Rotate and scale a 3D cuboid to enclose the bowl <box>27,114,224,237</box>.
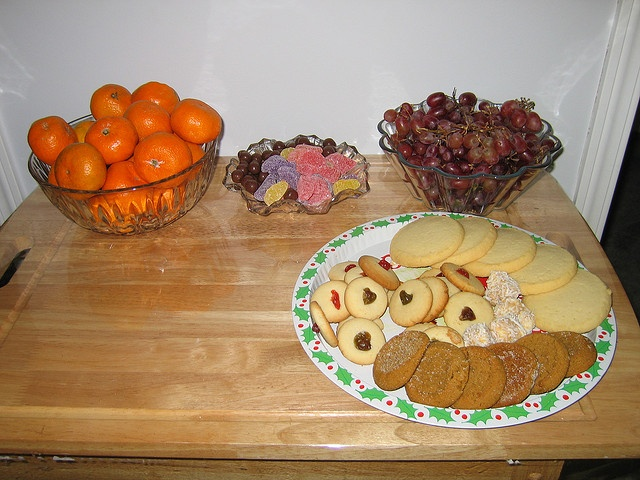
[{"bbox_3d":[-0.478,-0.159,1.310,0.353,0.156,0.329,1,51,-2],"label":"bowl"}]

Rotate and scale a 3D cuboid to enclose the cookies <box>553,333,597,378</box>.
[{"bbox_3d":[0.528,0.232,1.109,0.082,0.072,0.099,11,28,26],"label":"cookies"}]

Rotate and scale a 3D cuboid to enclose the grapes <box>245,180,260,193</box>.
[{"bbox_3d":[-0.190,-0.156,1.482,0.035,0.031,0.043,6,21,-2],"label":"grapes"}]

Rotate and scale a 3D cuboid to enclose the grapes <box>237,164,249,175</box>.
[{"bbox_3d":[-0.229,-0.213,1.547,0.035,0.018,0.032,21,56,-4],"label":"grapes"}]

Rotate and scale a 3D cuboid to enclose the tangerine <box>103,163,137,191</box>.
[{"bbox_3d":[-0.505,-0.172,1.356,0.087,0.076,0.081,-16,27,-26],"label":"tangerine"}]

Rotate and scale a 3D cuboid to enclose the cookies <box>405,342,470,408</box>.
[{"bbox_3d":[0.245,0.277,1.058,0.102,0.013,0.121,20,62,25],"label":"cookies"}]

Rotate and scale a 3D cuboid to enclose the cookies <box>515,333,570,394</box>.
[{"bbox_3d":[0.472,0.251,1.068,0.098,0.011,0.108,3,51,15],"label":"cookies"}]

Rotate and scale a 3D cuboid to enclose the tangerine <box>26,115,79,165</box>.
[{"bbox_3d":[-0.716,-0.272,1.368,0.122,0.107,0.114,-3,6,11],"label":"tangerine"}]

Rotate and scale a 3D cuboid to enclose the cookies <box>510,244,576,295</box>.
[{"bbox_3d":[0.533,0.068,1.224,0.124,0.020,0.119,-7,29,26],"label":"cookies"}]

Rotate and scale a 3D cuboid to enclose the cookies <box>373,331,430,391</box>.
[{"bbox_3d":[0.168,0.247,1.095,0.143,0.034,0.105,-46,33,0],"label":"cookies"}]

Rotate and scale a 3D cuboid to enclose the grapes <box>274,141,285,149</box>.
[{"bbox_3d":[-0.125,-0.292,1.599,0.026,0.013,0.024,15,61,6],"label":"grapes"}]

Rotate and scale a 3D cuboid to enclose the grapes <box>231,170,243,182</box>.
[{"bbox_3d":[-0.240,-0.184,1.516,0.032,0.017,0.029,22,76,5],"label":"grapes"}]

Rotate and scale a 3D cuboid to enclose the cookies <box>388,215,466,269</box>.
[{"bbox_3d":[0.277,0.001,1.308,0.176,0.037,0.180,-31,35,-8],"label":"cookies"}]

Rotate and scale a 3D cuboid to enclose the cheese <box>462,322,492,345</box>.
[{"bbox_3d":[0.331,0.198,1.106,0.050,0.015,0.045,-7,81,16],"label":"cheese"}]

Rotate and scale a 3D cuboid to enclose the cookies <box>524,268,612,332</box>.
[{"bbox_3d":[0.530,0.128,1.224,0.208,0.102,0.199,3,20,3],"label":"cookies"}]

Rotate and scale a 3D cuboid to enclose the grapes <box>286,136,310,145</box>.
[{"bbox_3d":[-0.066,-0.309,1.621,0.046,0.015,0.046,8,-13,-36],"label":"grapes"}]

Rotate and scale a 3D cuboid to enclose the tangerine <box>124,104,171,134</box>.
[{"bbox_3d":[-0.449,-0.320,1.369,0.108,0.093,0.100,-14,52,-3],"label":"tangerine"}]

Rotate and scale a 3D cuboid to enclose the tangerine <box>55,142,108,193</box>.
[{"bbox_3d":[-0.602,-0.198,1.323,0.150,0.135,0.147,-6,37,-29],"label":"tangerine"}]

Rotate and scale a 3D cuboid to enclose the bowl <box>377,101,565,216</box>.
[{"bbox_3d":[0.392,-0.271,1.590,0.565,0.304,0.493,2,31,6],"label":"bowl"}]

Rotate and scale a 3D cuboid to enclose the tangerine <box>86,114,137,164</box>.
[{"bbox_3d":[-0.536,-0.267,1.366,0.147,0.094,0.137,-12,22,-27],"label":"tangerine"}]

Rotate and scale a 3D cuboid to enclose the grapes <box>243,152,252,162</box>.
[{"bbox_3d":[-0.219,-0.252,1.577,0.026,0.013,0.024,8,68,2],"label":"grapes"}]

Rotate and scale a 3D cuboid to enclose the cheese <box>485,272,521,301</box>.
[{"bbox_3d":[0.420,0.117,1.186,0.069,0.025,0.072,-32,52,12],"label":"cheese"}]

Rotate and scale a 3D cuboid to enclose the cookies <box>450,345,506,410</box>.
[{"bbox_3d":[0.330,0.285,1.055,0.087,0.051,0.134,12,42,18],"label":"cookies"}]

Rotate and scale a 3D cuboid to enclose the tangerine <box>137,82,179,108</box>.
[{"bbox_3d":[-0.451,-0.409,1.456,0.092,0.045,0.090,-1,34,-34],"label":"tangerine"}]

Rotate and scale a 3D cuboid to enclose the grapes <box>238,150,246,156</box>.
[{"bbox_3d":[-0.244,-0.273,1.615,0.019,0.007,0.022,-2,28,-3],"label":"grapes"}]

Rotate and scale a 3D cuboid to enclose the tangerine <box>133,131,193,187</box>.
[{"bbox_3d":[-0.411,-0.212,1.359,0.151,0.146,0.135,5,86,16],"label":"tangerine"}]
